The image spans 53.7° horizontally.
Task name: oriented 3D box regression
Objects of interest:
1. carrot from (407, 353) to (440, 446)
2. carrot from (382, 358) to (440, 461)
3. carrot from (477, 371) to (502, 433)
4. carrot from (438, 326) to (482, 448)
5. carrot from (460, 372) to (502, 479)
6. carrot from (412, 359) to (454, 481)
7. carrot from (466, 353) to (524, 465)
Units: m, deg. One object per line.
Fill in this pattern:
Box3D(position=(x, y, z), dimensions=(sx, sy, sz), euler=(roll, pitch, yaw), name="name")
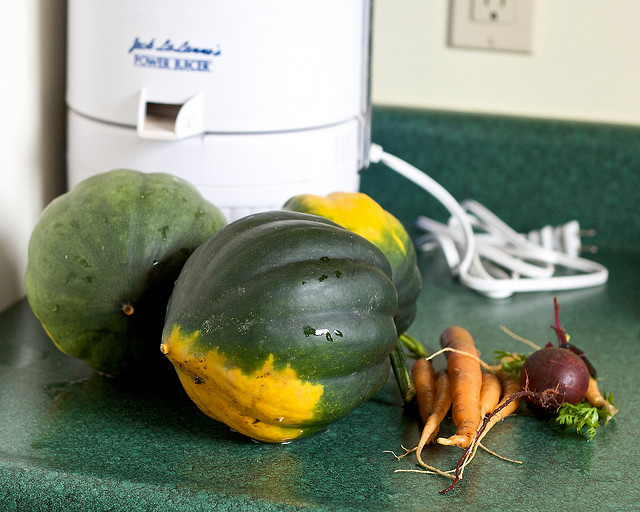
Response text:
Box3D(position=(0.112, 0.156, 0.700), dimensions=(0.015, 0.017, 0.111), euler=(27, 33, -4), name="carrot")
Box3D(position=(0.116, 0.165, 0.706), dimensions=(0.036, 0.034, 0.135), euler=(14, 39, -10), name="carrot")
Box3D(position=(0.188, 0.155, 0.702), dimensions=(0.023, 0.023, 0.097), euler=(12, 24, 10), name="carrot")
Box3D(position=(0.163, 0.148, 0.720), dimensions=(0.043, 0.047, 0.224), euler=(-10, 20, 15), name="carrot")
Box3D(position=(0.165, 0.178, 0.650), dimensions=(0.021, 0.018, 0.084), euler=(34, 54, -11), name="carrot")
Box3D(position=(0.123, 0.167, 0.677), dimensions=(0.031, 0.030, 0.123), euler=(14, 30, 8), name="carrot")
Box3D(position=(0.191, 0.168, 0.706), dimensions=(0.032, 0.045, 0.185), euler=(-17, 11, 32), name="carrot")
